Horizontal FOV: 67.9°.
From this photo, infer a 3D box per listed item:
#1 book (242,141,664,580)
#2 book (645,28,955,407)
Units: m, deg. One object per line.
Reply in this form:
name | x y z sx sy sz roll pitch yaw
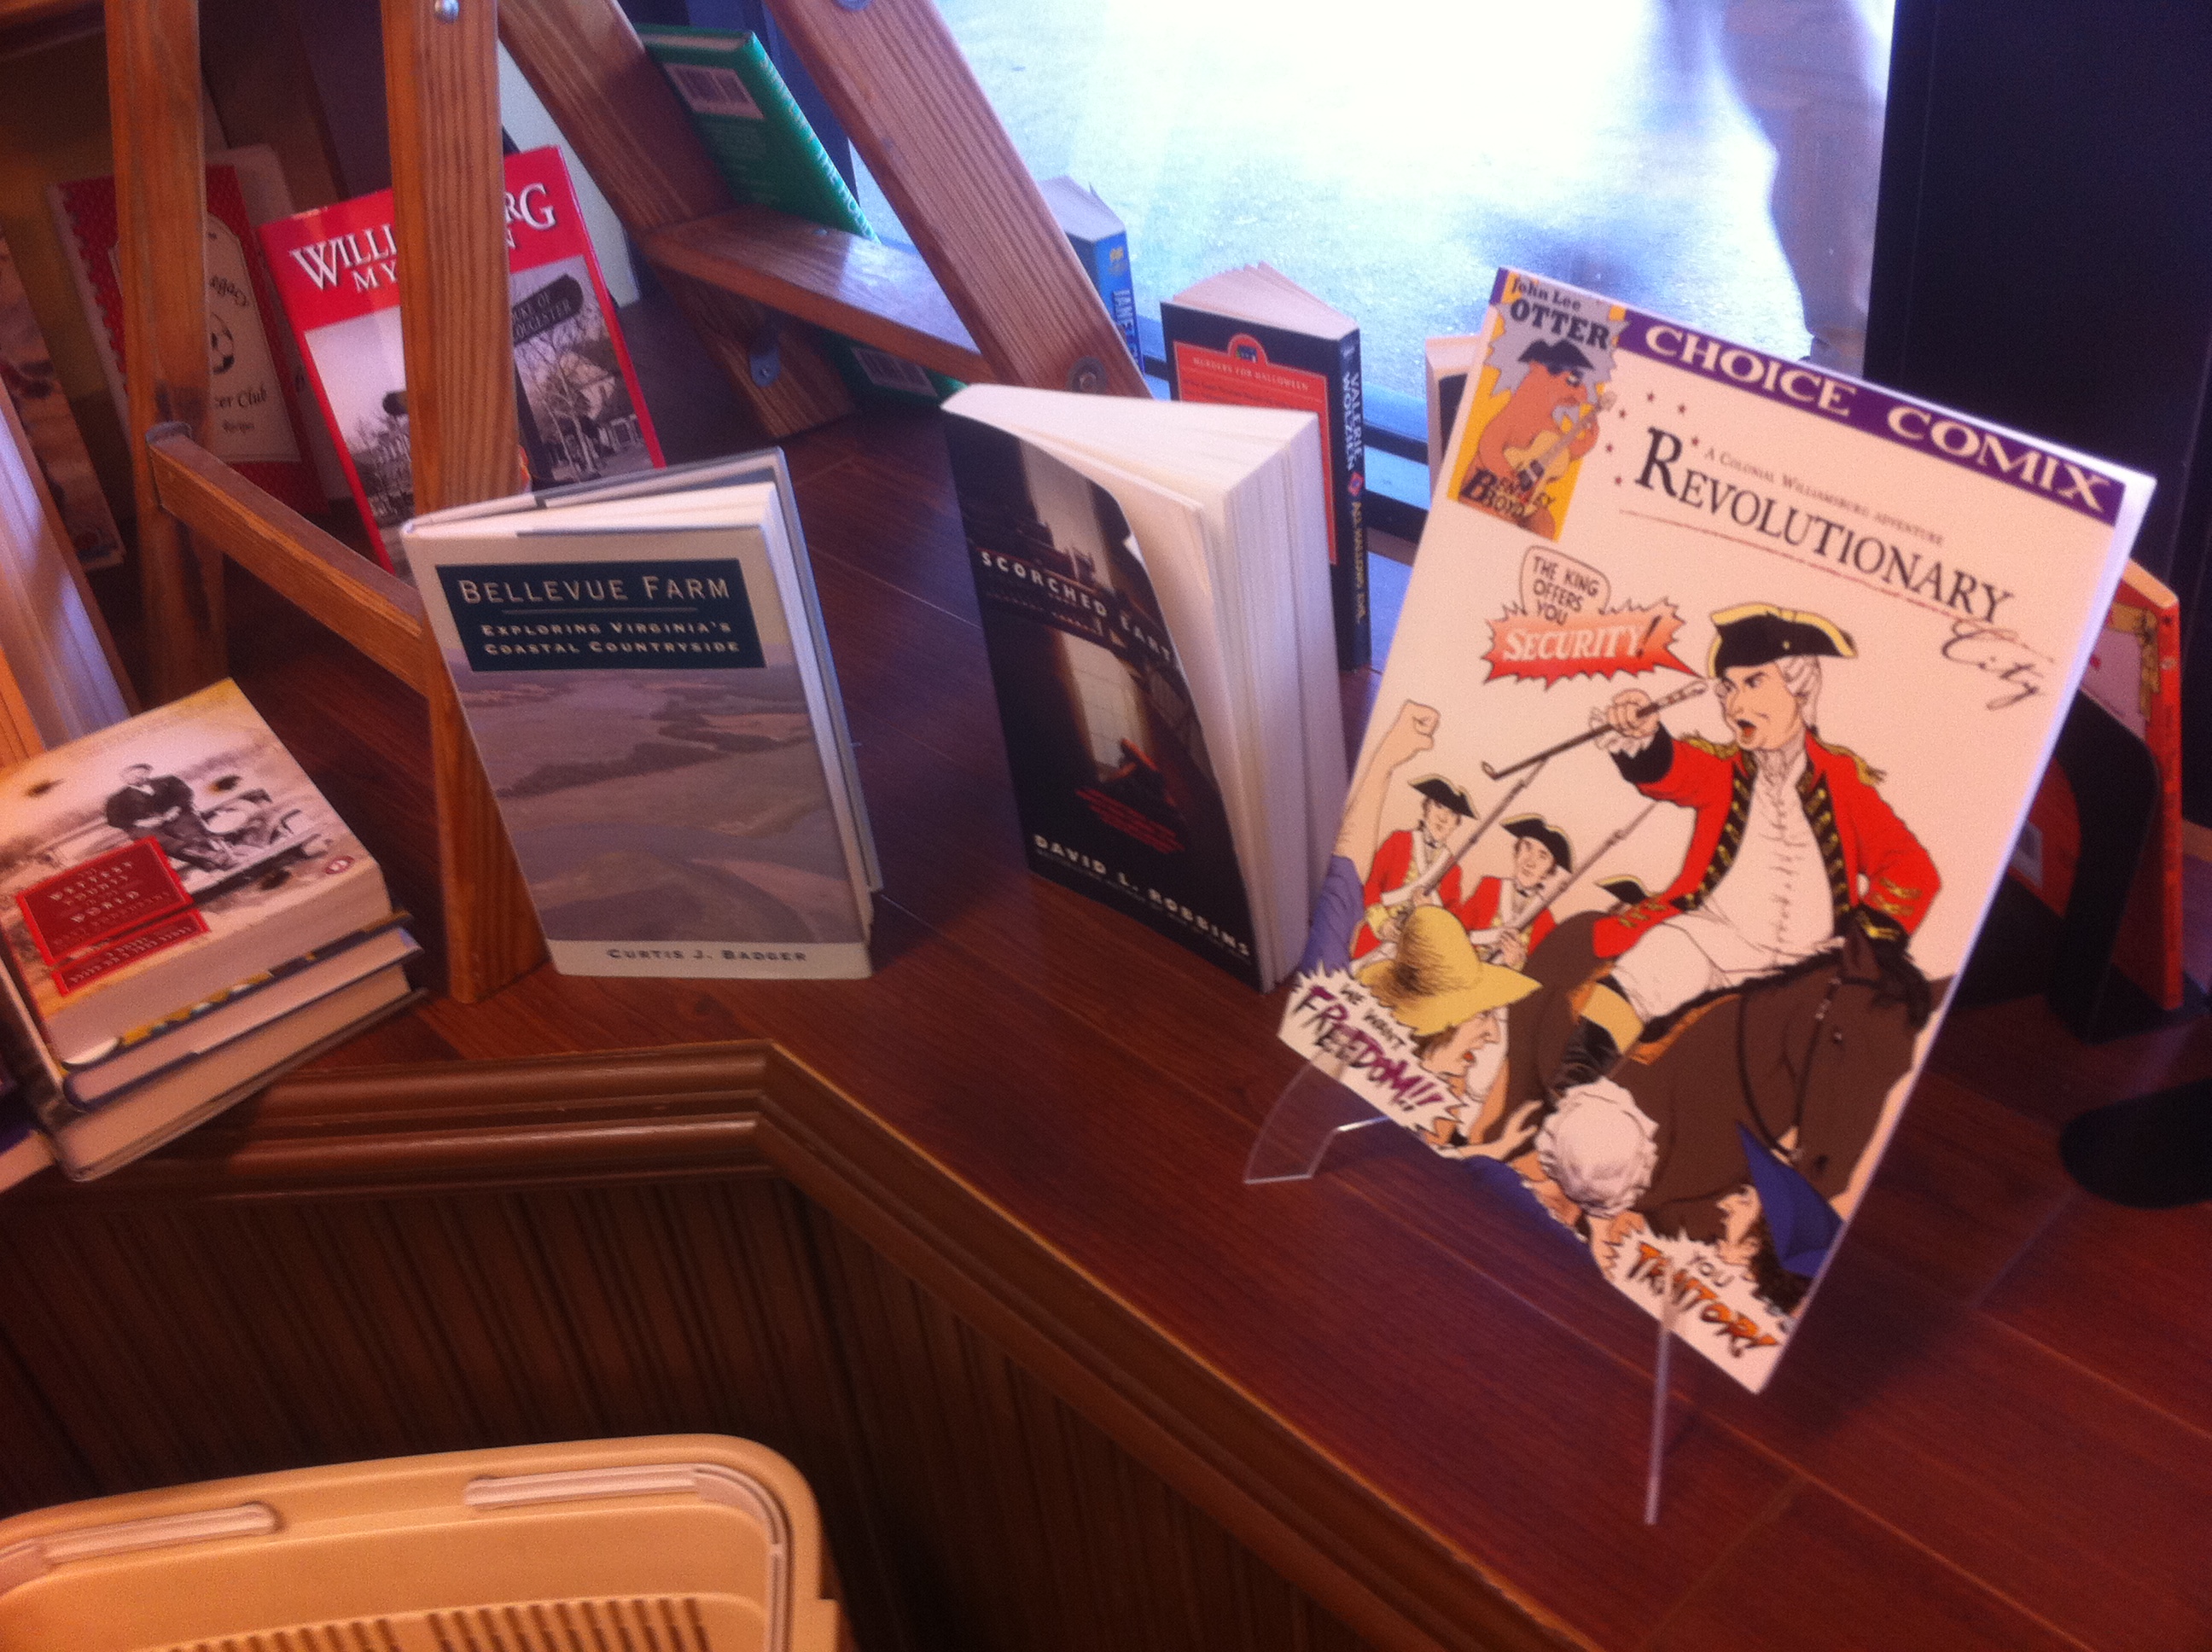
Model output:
book | -0.567 -0.427 1.491 0.395 0.397 0.094 -6 35 3
book | -0.307 -0.663 1.575 0.317 0.178 0.104 27 42 34
